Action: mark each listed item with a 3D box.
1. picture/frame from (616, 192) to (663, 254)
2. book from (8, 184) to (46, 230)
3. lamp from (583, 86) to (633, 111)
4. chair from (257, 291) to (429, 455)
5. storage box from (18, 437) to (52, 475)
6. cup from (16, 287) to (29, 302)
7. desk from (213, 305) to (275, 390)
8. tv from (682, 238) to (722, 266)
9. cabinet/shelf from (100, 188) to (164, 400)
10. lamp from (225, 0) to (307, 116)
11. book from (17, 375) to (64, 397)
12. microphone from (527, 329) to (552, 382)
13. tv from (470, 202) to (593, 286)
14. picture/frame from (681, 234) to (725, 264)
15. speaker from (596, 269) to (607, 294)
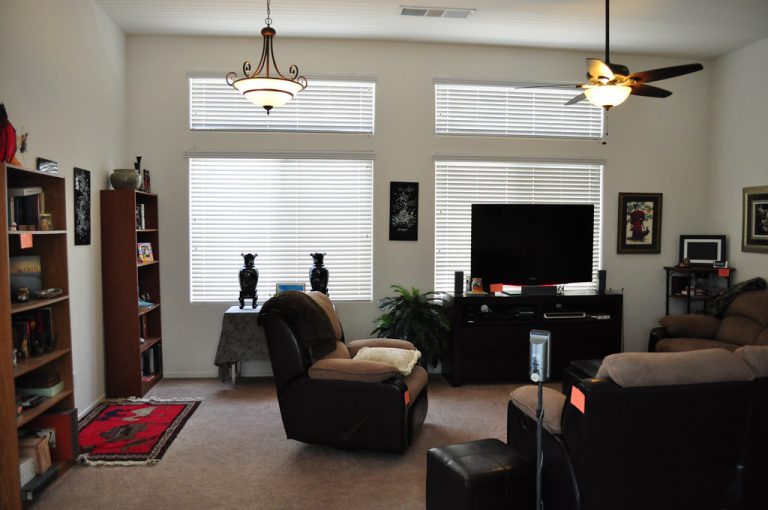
[{"bbox_3d":[3.222,-0.437,7.603,0.837,1.059,0.081,1,-1,-8],"label":"picture/frame"},{"bbox_3d":[-3.031,-0.404,5.019,0.255,0.310,0.320,1,26,-6],"label":"book"},{"bbox_3d":[2.066,-1.489,5.615,0.289,0.124,0.279,1,-3,1],"label":"lamp"},{"bbox_3d":[-0.294,1.046,5.972,1.564,1.259,1.488,0,-1,7],"label":"chair"},{"bbox_3d":[-3.012,1.716,5.081,0.244,0.228,0.176,-8,3,-2],"label":"storage box"},{"bbox_3d":[-3.047,0.326,4.997,0.072,0.111,0.122,3,-5,-9],"label":"cup"},{"bbox_3d":[-1.500,1.055,6.983,0.907,0.807,0.900,0,-2,-7],"label":"desk"},{"bbox_3d":[4.034,-0.042,7.530,0.369,0.295,0.029,0,-5,26],"label":"tv"},{"bbox_3d":[-2.874,0.399,6.782,0.456,2.284,0.677,1,4,0],"label":"cabinet/shelf"},{"bbox_3d":[-1.209,-2.078,6.430,0.928,1.266,1.805,0,3,-14],"label":"lamp"},{"bbox_3d":[-3.000,1.128,5.150,0.295,0.065,0.285,1,-2,-7],"label":"book"},{"bbox_3d":[1.125,0.744,4.326,0.137,0.391,0.182,2,4,11],"label":"microphone"},{"bbox_3d":[1.802,-0.104,7.262,1.597,1.064,0.375,-1,2,-11],"label":"tv"},{"bbox_3d":[4.041,-0.082,7.537,0.396,0.310,0.031,0,-5,21],"label":"picture/frame"},{"bbox_3d":[2.645,0.317,7.273,0.099,0.276,0.285,2,-1,13],"label":"speaker"}]
